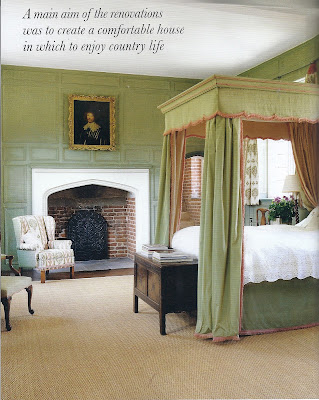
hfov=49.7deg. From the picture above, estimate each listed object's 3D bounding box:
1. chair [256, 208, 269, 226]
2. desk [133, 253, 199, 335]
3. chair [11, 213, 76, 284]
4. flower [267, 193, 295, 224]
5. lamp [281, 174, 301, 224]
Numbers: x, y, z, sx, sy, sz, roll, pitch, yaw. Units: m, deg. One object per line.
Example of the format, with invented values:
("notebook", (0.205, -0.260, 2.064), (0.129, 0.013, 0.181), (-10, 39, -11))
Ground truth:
("chair", (1.896, 0.312, 6.327), (0.161, 0.414, 0.316), (7, -8, -37))
("desk", (0.090, 0.954, 3.685), (0.532, 0.664, 0.904), (1, -2, -20))
("chair", (-1.885, 0.794, 6.197), (1.115, 1.388, 1.087), (-2, -2, 34))
("flower", (1.918, 0.136, 5.604), (0.419, 0.478, 0.469), (0, 3, -8))
("lamp", (2.032, -0.008, 5.312), (0.246, 0.731, 0.552), (-1, -2, 20))
